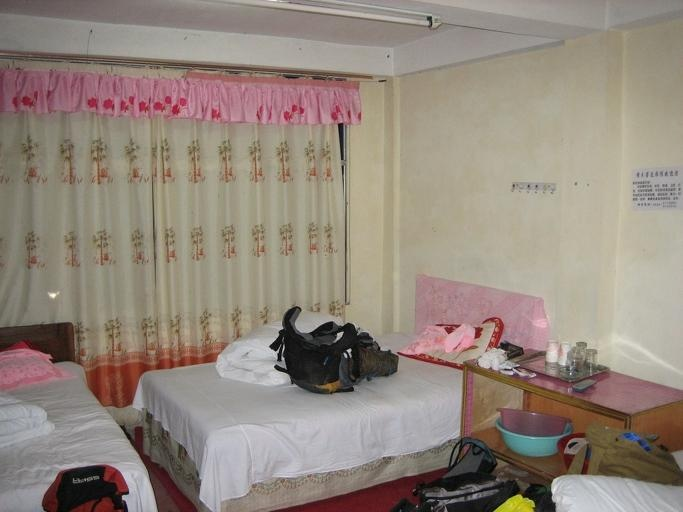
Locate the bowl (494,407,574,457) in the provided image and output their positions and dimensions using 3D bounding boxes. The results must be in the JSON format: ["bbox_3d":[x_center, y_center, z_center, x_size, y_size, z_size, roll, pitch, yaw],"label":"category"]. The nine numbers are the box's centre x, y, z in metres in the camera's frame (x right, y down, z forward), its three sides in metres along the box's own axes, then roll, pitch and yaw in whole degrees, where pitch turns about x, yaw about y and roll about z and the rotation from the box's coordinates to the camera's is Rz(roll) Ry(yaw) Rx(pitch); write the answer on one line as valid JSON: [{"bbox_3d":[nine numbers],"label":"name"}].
[{"bbox_3d":[1.220,1.124,3.605,0.279,0.128,0.318,-1,-3,-44],"label":"bowl"}]

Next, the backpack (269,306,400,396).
[{"bbox_3d":[-0.037,0.706,4.333,0.795,0.441,0.599,2,3,-27],"label":"backpack"}]
